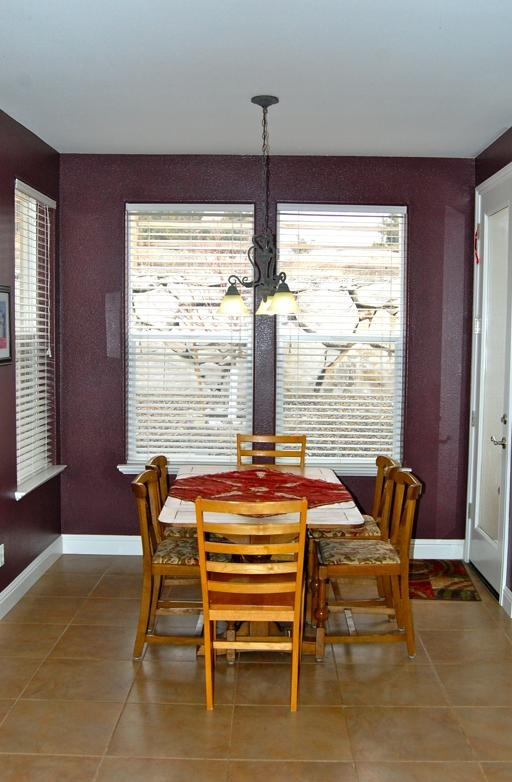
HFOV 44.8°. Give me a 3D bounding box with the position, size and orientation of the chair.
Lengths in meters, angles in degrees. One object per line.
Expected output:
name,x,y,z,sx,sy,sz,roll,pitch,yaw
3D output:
chair,0.081,0.755,2.687,1.226,0.802,1.031,0,2,-41
